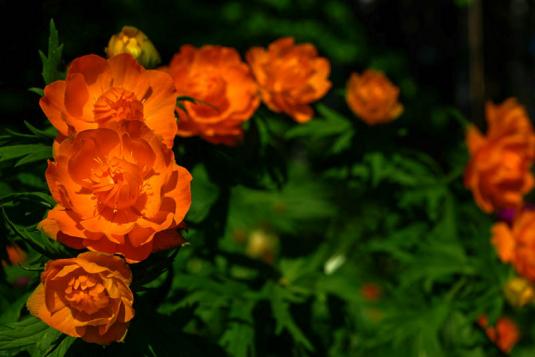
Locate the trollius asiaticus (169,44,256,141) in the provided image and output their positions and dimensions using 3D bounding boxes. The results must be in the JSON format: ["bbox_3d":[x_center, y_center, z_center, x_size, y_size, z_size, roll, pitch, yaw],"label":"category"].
[{"bbox_3d":[-0.064,-0.100,0.676,0.104,0.120,0.048,-7,9,-7],"label":"trollius asiaticus"}]

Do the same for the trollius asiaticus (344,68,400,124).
[{"bbox_3d":[0.129,-0.102,0.703,0.067,0.065,0.022,18,-16,-9],"label":"trollius asiaticus"}]

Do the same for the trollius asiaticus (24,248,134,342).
[{"bbox_3d":[-0.186,0.121,0.594,0.090,0.099,0.043,-45,7,3],"label":"trollius asiaticus"}]

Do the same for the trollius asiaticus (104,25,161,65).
[{"bbox_3d":[-0.147,-0.146,0.633,0.040,0.034,0.051,-26,58,-32],"label":"trollius asiaticus"}]

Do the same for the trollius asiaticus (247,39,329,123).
[{"bbox_3d":[0.030,-0.102,0.662,0.086,0.099,0.040,-4,-12,-19],"label":"trollius asiaticus"}]
